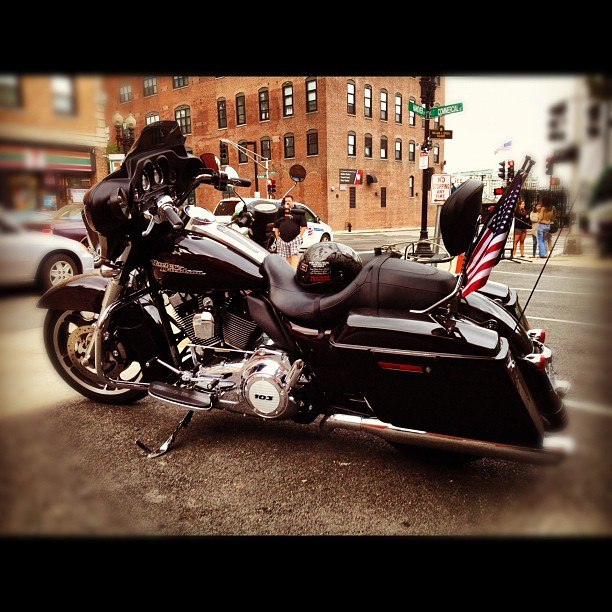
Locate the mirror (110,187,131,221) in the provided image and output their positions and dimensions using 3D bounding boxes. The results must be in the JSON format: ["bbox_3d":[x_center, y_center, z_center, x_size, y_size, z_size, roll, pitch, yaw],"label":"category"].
[{"bbox_3d":[-1.082,-0.607,3.209,0.058,0.156,0.140,-3,34,-1],"label":"mirror"}]

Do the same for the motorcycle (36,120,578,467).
[{"bbox_3d":[-0.171,-0.085,3.444,3.383,1.892,1.170,6,18,18],"label":"motorcycle"}]

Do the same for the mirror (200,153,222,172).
[{"bbox_3d":[-0.639,-0.969,3.689,0.033,0.092,0.143,0,5,11],"label":"mirror"}]

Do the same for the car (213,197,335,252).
[{"bbox_3d":[-0.801,-1.949,14.622,3.614,1.600,2.107,-4,9,-18],"label":"car"}]

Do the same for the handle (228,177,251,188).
[{"bbox_3d":[-0.471,-0.885,3.943,0.060,0.055,0.208,-3,3,30],"label":"handle"}]

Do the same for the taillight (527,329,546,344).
[{"bbox_3d":[1.616,0.208,3.931,0.108,0.050,0.149,-41,27,-25],"label":"taillight"}]

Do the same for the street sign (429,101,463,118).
[{"bbox_3d":[2.584,-3.643,10.201,0.542,0.211,1.365,4,15,8],"label":"street sign"}]
